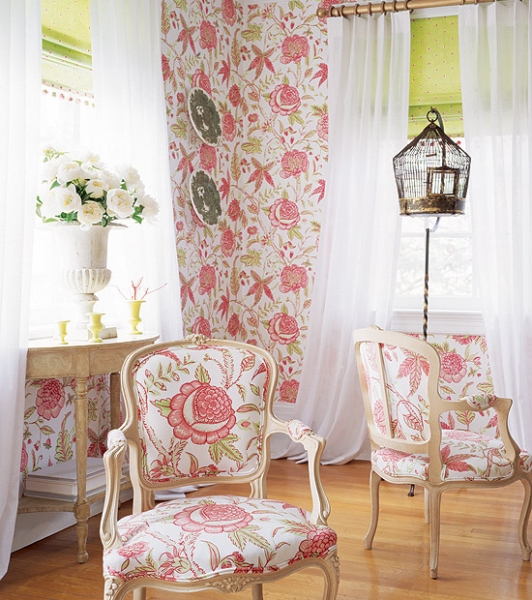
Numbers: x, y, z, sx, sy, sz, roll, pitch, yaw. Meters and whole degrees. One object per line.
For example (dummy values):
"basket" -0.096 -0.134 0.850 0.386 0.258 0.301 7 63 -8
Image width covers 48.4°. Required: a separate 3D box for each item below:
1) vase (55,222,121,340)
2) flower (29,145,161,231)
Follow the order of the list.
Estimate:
"vase" -0.742 -0.063 2.468 0.216 0.340 0.523 0 -1 -16
"flower" -0.651 -0.432 2.360 0.509 0.229 0.274 1 -1 -44
